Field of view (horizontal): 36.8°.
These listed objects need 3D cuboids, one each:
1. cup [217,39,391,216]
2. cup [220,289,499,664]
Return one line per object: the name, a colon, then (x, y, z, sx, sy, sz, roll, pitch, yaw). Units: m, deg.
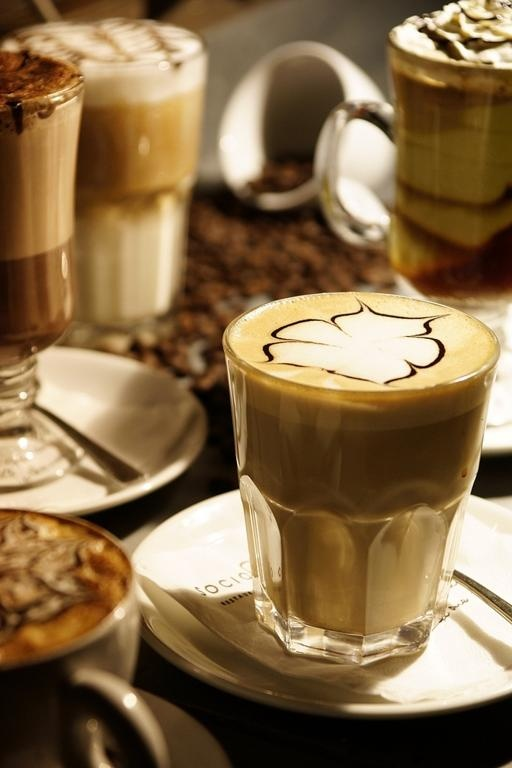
cup: (0.089, -0.370, 1.142, 0.249, 0.167, 0.157, 8, -16, -1)
cup: (0.058, 0.055, 0.433, 0.151, 0.160, 0.142, 0, 20, 0)
